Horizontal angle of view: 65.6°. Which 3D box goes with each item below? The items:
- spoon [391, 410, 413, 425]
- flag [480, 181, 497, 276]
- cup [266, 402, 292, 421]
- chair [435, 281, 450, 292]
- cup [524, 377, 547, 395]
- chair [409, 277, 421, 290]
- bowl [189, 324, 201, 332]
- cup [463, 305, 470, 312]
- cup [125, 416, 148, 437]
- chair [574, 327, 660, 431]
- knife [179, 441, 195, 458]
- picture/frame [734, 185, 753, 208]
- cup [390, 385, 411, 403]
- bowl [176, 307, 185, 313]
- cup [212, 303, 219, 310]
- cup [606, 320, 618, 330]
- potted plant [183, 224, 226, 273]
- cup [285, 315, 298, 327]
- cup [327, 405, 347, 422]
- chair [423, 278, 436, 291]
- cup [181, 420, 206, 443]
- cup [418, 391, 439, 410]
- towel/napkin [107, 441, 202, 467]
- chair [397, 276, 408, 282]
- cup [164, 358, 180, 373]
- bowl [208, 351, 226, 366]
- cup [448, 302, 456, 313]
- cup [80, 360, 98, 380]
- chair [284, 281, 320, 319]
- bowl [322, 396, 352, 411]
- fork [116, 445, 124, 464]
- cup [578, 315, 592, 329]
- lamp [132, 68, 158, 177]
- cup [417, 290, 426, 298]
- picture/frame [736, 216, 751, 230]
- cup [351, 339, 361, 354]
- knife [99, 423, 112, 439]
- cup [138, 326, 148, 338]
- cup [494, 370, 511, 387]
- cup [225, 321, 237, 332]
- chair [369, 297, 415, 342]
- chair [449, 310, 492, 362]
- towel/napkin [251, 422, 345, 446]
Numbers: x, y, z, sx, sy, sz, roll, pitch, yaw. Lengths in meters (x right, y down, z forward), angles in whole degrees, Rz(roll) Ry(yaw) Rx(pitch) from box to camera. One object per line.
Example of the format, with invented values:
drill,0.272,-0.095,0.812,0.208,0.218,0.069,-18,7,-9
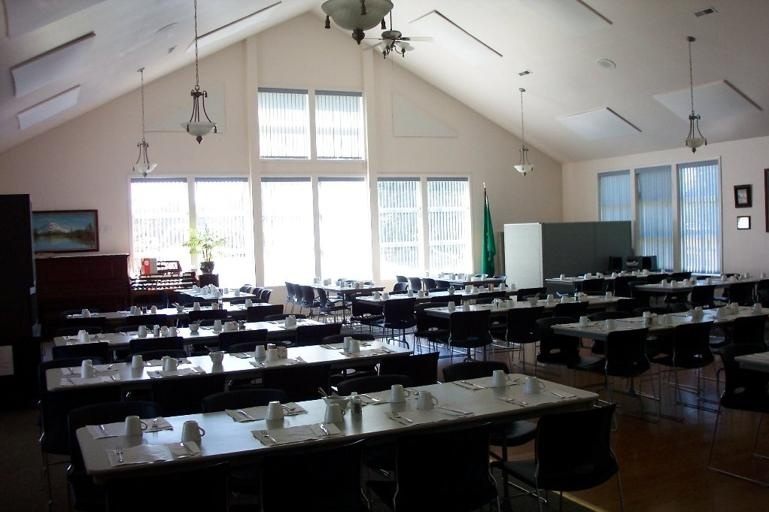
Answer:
spoon,0.151,1.381,5.076,0.062,0.044,0.292,1,0,-22
flag,2.850,-0.735,16.482,0.380,2.506,1.018,-2,0,11
cup,-0.921,1.350,5.200,0.156,0.137,0.152,-1,2,0
chair,1.236,0.646,12.822,0.216,0.271,0.209,0,3,-14
cup,1.411,1.215,5.580,0.190,0.132,0.123,3,-4,-29
chair,0.707,0.644,13.791,0.259,0.358,0.289,-1,3,-26
bowl,-2.565,0.980,8.073,0.110,0.088,0.113,0,-3,0
cup,1.274,0.809,9.281,0.082,0.087,0.156,-3,-6,20
cup,-2.048,1.408,4.939,0.185,0.133,0.121,7,-3,-22
chair,3.086,1.430,7.610,0.532,0.903,0.602,-8,0,-11
knife,-1.519,1.512,4.659,0.078,0.038,0.101,3,14,-28
picture/frame,8.198,-1.368,13.616,0.077,0.720,0.534,1,-1,-29
cup,0.129,1.259,5.458,0.106,0.128,0.171,0,-5,1
bowl,-3.404,0.902,9.969,0.119,0.024,0.123,3,8,0
cup,-2.704,0.809,9.537,0.092,0.109,0.093,1,-3,0
cup,2.857,0.870,7.524,0.082,0.125,0.132,0,0,0
potted plant,-4.330,-0.206,14.464,0.934,1.378,1.314,-1,1,-24
cup,-1.290,0.907,8.228,0.141,0.137,0.138,0,-2,0
cup,-0.407,1.341,5.131,0.145,0.109,0.130,-3,3,-9
chair,0.985,0.633,13.310,0.246,0.280,0.230,-1,-1,38
cup,-1.555,1.428,4.884,0.192,0.169,0.123,4,3,39
cup,0.388,1.285,5.325,0.113,0.118,0.174,-4,-12,28
towel/napkin,-1.783,1.530,4.636,0.709,0.089,0.279,-2,0,-13
chair,0.434,0.571,14.659,0.176,0.212,0.164,0,2,13
cup,-2.244,1.141,6.325,0.141,0.171,0.127,-4,9,-32
bowl,-1.852,1.134,6.599,0.119,0.112,0.151,-3,-5,43
cup,1.040,0.787,9.179,0.125,0.179,0.124,-1,-3,0
cup,-3.083,1.185,6.160,0.192,0.190,0.151,0,1,-9
chair,-1.888,0.965,13.550,0.343,0.597,0.881,-2,5,-23
bowl,-0.419,1.306,5.345,0.157,0.071,0.132,3,-5,-36
fork,-2.036,1.534,4.591,0.046,0.026,0.184,2,27,-15
cup,2.631,0.863,7.800,0.162,0.162,0.166,-1,0,0
lamp,-5.551,-2.949,13.788,0.520,2.519,1.090,-2,0,-23
cup,0.702,0.712,11.058,0.106,0.106,0.107,2,1,0
picture/frame,8.224,-0.765,13.642,0.025,0.304,0.293,-2,6,-28
cup,-0.330,1.055,6.887,0.109,0.128,0.131,1,-3,1
knife,-2.323,1.451,4.955,0.054,0.031,0.179,-6,16,-18
cup,-3.161,0.997,7.811,0.165,0.153,0.126,-2,1,-17
cup,1.120,1.186,5.759,0.166,0.135,0.107,5,-6,-34
cup,-2.029,0.926,7.893,0.093,0.110,0.151,0,-7,1
chair,0.254,1.157,10.758,0.670,0.918,0.694,-8,14,-24
chair,1.260,1.224,9.254,0.672,0.917,0.705,-5,8,-16
towel/napkin,-0.714,1.459,4.886,0.719,0.072,0.295,-2,0,-15
